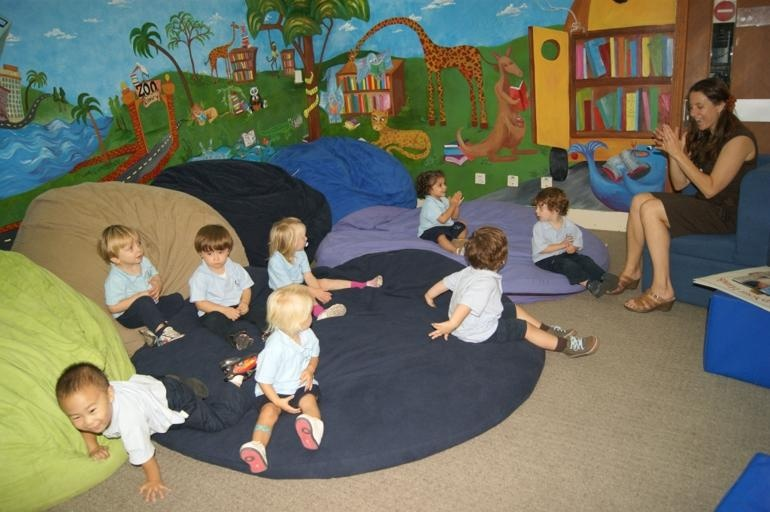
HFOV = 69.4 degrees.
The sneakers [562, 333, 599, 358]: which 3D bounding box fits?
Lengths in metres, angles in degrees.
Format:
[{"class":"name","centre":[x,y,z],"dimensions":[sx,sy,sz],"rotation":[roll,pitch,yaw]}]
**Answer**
[{"class":"sneakers","centre":[1.299,0.597,3.682],"dimensions":[0.273,0.100,0.110],"rotation":[-6,-17,29]}]

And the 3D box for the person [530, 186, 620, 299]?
[{"class":"person","centre":[1.443,-0.125,4.229],"dimensions":[0.384,0.654,0.768],"rotation":[-13,26,-17]}]

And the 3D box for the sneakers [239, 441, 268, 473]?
[{"class":"sneakers","centre":[-0.709,1.085,3.046],"dimensions":[0.108,0.194,0.088],"rotation":[-16,26,13]}]

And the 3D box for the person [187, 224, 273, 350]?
[{"class":"person","centre":[-1.084,0.183,3.816],"dimensions":[0.450,0.758,0.705],"rotation":[-12,20,-33]}]

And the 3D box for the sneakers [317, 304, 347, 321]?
[{"class":"sneakers","centre":[-0.380,0.409,3.908],"dimensions":[0.198,0.081,0.090],"rotation":[-8,40,-11]}]

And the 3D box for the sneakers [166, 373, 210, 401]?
[{"class":"sneakers","centre":[-1.173,0.765,3.251],"dimensions":[0.198,0.066,0.153],"rotation":[16,12,14]}]

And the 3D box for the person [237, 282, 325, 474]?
[{"class":"person","centre":[-0.575,0.612,3.174],"dimensions":[0.519,0.742,0.975],"rotation":[-3,32,-17]}]

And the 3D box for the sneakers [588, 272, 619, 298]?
[{"class":"sneakers","centre":[1.640,0.215,4.164],"dimensions":[0.255,0.133,0.170],"rotation":[-30,1,-3]}]

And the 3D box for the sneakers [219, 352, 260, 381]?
[{"class":"sneakers","centre":[-0.895,0.682,3.416],"dimensions":[0.218,0.066,0.166],"rotation":[-17,48,-14]}]

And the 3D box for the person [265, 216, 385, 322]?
[{"class":"person","centre":[-0.466,0.074,3.984],"dimensions":[0.815,0.612,0.611],"rotation":[8,24,4]}]

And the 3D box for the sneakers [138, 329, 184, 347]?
[{"class":"sneakers","centre":[-1.521,0.553,3.796],"dimensions":[0.329,0.138,0.129],"rotation":[-2,18,10]}]

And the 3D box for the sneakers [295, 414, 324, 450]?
[{"class":"sneakers","centre":[-0.419,0.957,3.086],"dimensions":[0.107,0.237,0.107],"rotation":[-2,20,19]}]

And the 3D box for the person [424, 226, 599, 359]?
[{"class":"person","centre":[0.857,0.241,3.586],"dimensions":[1.129,0.750,0.534],"rotation":[8,14,2]}]

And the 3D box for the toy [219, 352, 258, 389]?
[{"class":"toy","centre":[-0.918,0.706,3.417],"dimensions":[0.203,0.073,0.199],"rotation":[-16,44,-14]}]

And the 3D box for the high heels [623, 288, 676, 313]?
[{"class":"high heels","centre":[1.964,0.341,4.126],"dimensions":[0.315,0.143,0.163],"rotation":[1,18,10]}]

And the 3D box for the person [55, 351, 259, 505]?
[{"class":"person","centre":[-1.211,0.799,3.194],"dimensions":[0.650,0.546,0.988],"rotation":[22,28,28]}]

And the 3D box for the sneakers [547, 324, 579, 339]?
[{"class":"sneakers","centre":[1.193,0.510,3.771],"dimensions":[0.214,0.084,0.078],"rotation":[0,27,8]}]

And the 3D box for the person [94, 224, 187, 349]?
[{"class":"person","centre":[-1.689,0.194,3.737],"dimensions":[0.385,0.802,0.410],"rotation":[-14,14,-28]}]

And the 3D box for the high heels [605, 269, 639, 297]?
[{"class":"high heels","centre":[1.824,0.214,4.292],"dimensions":[0.342,0.124,0.167],"rotation":[-8,19,-18]}]
